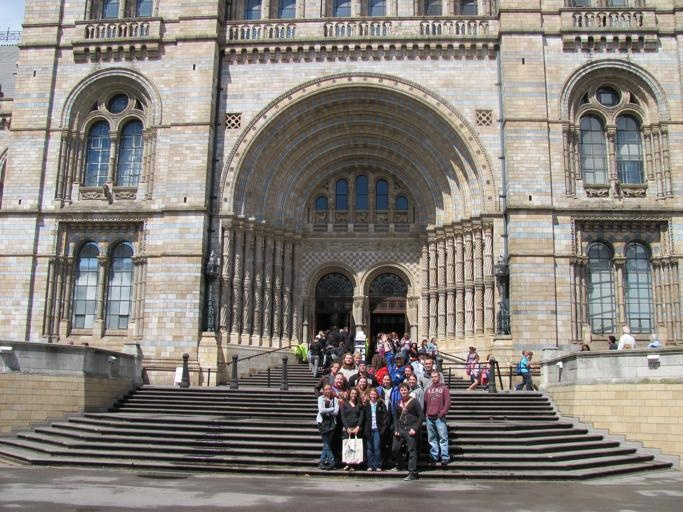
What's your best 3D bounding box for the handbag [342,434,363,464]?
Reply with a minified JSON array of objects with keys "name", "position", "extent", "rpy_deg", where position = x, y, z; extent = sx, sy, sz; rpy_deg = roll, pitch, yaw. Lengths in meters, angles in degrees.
[{"name":"handbag","position":[0.364,6.283,27.210],"extent":[0.954,1.263,0.416],"rpy_deg":[0,-12,0]}]
